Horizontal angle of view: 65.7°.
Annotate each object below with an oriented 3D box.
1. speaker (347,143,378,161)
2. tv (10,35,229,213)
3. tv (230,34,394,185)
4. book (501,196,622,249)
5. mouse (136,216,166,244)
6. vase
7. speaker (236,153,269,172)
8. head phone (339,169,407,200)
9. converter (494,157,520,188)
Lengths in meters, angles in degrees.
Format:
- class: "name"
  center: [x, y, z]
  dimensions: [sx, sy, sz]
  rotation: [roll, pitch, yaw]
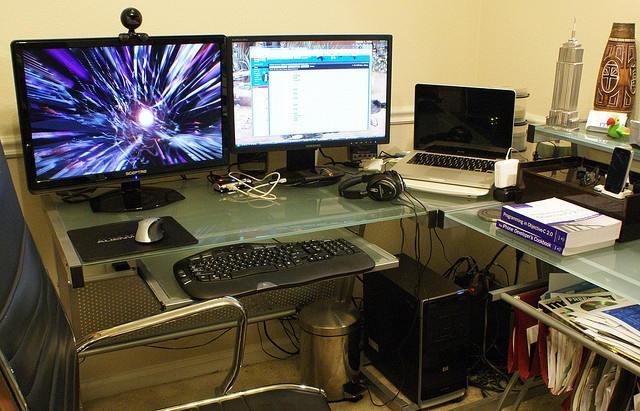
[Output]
- class: "speaker"
  center: [0.210, -0.266, 2.423]
  dimensions: [0.149, 0.115, 0.078]
  rotation: [-4, 13, -16]
- class: "tv"
  center: [-0.828, -0.356, 2.010]
  dimensions: [0.750, 0.569, 0.242]
  rotation: [-8, 20, -25]
- class: "tv"
  center: [-0.049, -0.459, 2.256]
  dimensions: [0.719, 0.556, 0.280]
  rotation: [-7, 22, -19]
- class: "book"
  center: [0.869, 0.046, 1.792]
  dimensions: [0.228, 0.047, 0.216]
  rotation: [-10, 30, -28]
- class: "mouse"
  center: [-0.638, 0.071, 1.856]
  dimensions: [0.109, 0.070, 0.174]
  rotation: [3, 22, -2]
- class: "vase"
  center: [1.274, -0.574, 2.103]
  dimensions: [0.157, 0.396, 0.103]
  rotation: [-8, 18, -14]
- class: "speaker"
  center: [-0.324, -0.214, 2.388]
  dimensions: [0.098, 0.084, 0.032]
  rotation: [-2, 27, -8]
- class: "head phone"
  center: [0.230, -0.090, 2.144]
  dimensions: [0.206, 0.080, 0.162]
  rotation: [-6, 23, 18]
- class: "converter"
  center: [0.782, -0.136, 2.085]
  dimensions: [0.124, 0.107, 0.039]
  rotation: [-12, 21, -33]
